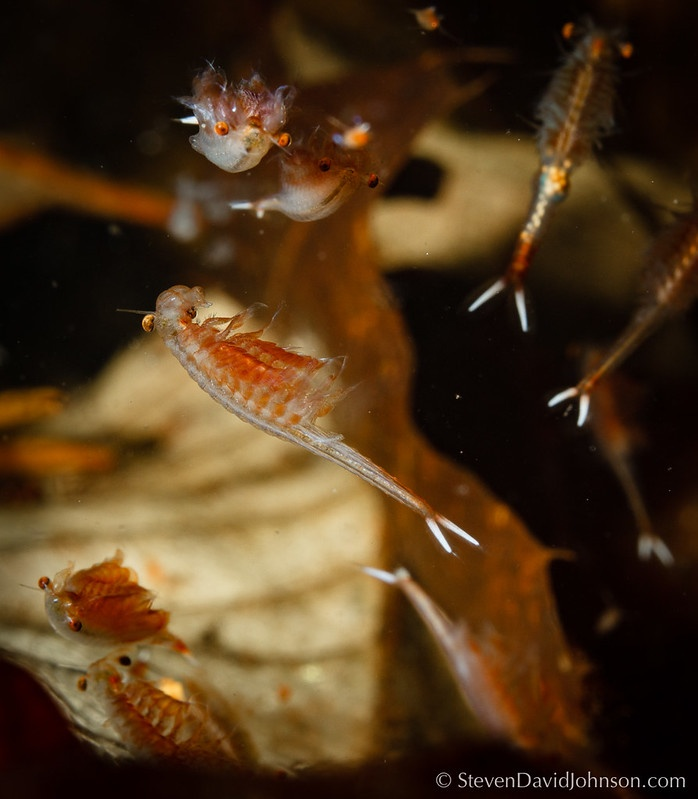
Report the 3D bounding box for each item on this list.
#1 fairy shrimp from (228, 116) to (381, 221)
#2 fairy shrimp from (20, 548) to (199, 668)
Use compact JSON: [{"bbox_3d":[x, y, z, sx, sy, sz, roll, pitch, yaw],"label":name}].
[{"bbox_3d":[-0.055,-0.400,1.722,0.103,0.334,0.106,-12,86,-49],"label":"fairy shrimp"},{"bbox_3d":[-0.415,0.371,1.717,0.102,0.248,0.157,-57,27,13],"label":"fairy shrimp"}]
